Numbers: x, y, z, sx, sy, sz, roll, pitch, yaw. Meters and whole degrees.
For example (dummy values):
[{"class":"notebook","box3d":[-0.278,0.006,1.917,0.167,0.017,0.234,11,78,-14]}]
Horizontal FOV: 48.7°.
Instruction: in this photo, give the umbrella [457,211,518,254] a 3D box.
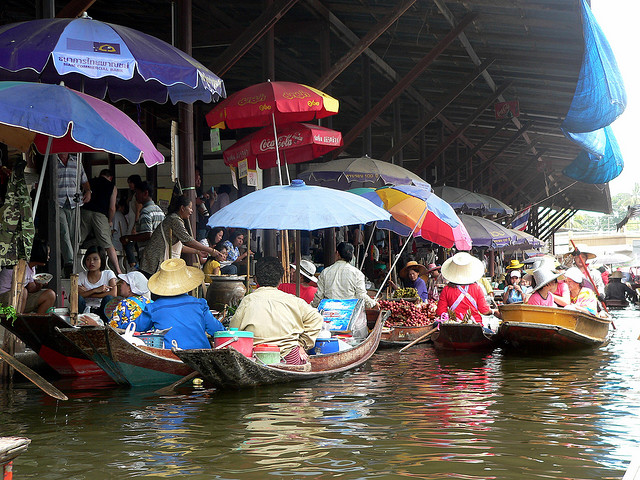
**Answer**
[{"class":"umbrella","box3d":[4.981,-0.411,21.217,1.960,0.705,1.996,10,19,35]}]

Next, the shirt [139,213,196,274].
[{"class":"shirt","box3d":[-2.287,0.097,10.519,0.664,0.883,0.720,13,-10,-26]}]

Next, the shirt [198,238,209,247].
[{"class":"shirt","box3d":[-2.122,0.062,12.964,0.179,0.182,0.175,-9,29,-22]}]

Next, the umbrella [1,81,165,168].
[{"class":"umbrella","box3d":[-2.671,-1.284,8.117,1.373,0.460,1.385,8,-4,13]}]

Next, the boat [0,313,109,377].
[{"class":"boat","box3d":[-3.330,1.283,8.999,0.544,0.274,1.845,5,-24,21]}]

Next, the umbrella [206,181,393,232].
[{"class":"umbrella","box3d":[-0.291,-0.467,9.410,2.258,0.619,0.979,0,3,-6]}]

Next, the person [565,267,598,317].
[{"class":"person","box3d":[4.753,0.969,12.833,0.612,1.395,0.542,-1,13,15]}]

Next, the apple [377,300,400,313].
[{"class":"apple","box3d":[1.299,1.193,13.196,0.294,0.223,0.102,13,21,2]}]

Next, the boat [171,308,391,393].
[{"class":"boat","box3d":[-0.153,1.370,9.255,0.870,0.579,3.360,5,1,30]}]

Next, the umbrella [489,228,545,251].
[{"class":"umbrella","box3d":[7.322,0.014,26.106,1.307,0.450,1.303,2,-5,-26]}]

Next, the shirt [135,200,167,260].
[{"class":"shirt","box3d":[-2.669,-0.121,11.079,0.558,1.273,0.919,3,4,-14]}]

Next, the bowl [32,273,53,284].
[{"class":"bowl","box3d":[-3.692,0.516,9.401,0.222,0.142,0.410,-1,4,-21]}]

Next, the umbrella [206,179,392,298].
[{"class":"umbrella","box3d":[-0.285,-0.077,10.140,2.309,1.565,2.282,-8,12,-40]}]

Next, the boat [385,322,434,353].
[{"class":"boat","box3d":[1.620,1.707,12.817,1.275,0.359,0.093,-2,5,-41]}]

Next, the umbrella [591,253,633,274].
[{"class":"umbrella","box3d":[12.873,0.860,30.775,1.269,0.838,1.252,-4,-6,42]}]

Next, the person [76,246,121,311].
[{"class":"person","box3d":[-3.180,0.548,10.127,0.591,0.884,0.854,-2,5,-40]}]

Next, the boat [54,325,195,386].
[{"class":"boat","box3d":[-2.278,1.403,8.352,0.655,0.466,1.788,1,-28,36]}]

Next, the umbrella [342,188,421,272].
[{"class":"umbrella","box3d":[1.405,-0.493,15.552,1.716,1.891,1.731,18,-12,5]}]

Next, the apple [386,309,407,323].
[{"class":"apple","box3d":[1.444,1.409,13.033,0.266,0.128,0.287,-11,12,19]}]

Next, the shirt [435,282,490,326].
[{"class":"shirt","box3d":[2.631,1.250,12.880,0.968,0.975,0.595,0,-19,-2]}]

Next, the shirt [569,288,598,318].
[{"class":"shirt","box3d":[4.780,1.144,12.777,0.403,0.576,0.577,-9,-28,19]}]

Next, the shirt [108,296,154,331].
[{"class":"shirt","box3d":[-2.418,0.816,9.092,0.258,0.716,0.736,13,-7,5]}]

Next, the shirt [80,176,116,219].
[{"class":"shirt","box3d":[-3.636,-0.672,11.477,0.555,0.707,0.389,13,-21,-16]}]

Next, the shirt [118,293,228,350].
[{"class":"shirt","box3d":[-1.811,0.965,8.768,1.352,0.710,0.722,1,21,-19]}]

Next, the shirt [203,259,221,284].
[{"class":"shirt","box3d":[-1.811,0.540,11.858,0.209,0.368,0.373,-1,7,-43]}]

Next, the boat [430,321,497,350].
[{"class":"boat","box3d":[2.558,1.684,12.451,1.001,0.536,0.742,1,3,13]}]

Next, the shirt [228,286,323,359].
[{"class":"shirt","box3d":[-0.531,1.014,8.887,1.109,0.871,0.626,-1,4,8]}]

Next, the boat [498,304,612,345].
[{"class":"boat","box3d":[4.066,1.443,12.061,1.840,0.744,0.770,0,4,-15]}]

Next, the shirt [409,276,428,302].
[{"class":"shirt","box3d":[2.128,1.057,15.188,0.403,0.559,0.413,-4,6,5]}]

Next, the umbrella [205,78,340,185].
[{"class":"umbrella","box3d":[-0.776,-2.171,12.465,2.171,1.842,2.167,-8,3,-33]}]
